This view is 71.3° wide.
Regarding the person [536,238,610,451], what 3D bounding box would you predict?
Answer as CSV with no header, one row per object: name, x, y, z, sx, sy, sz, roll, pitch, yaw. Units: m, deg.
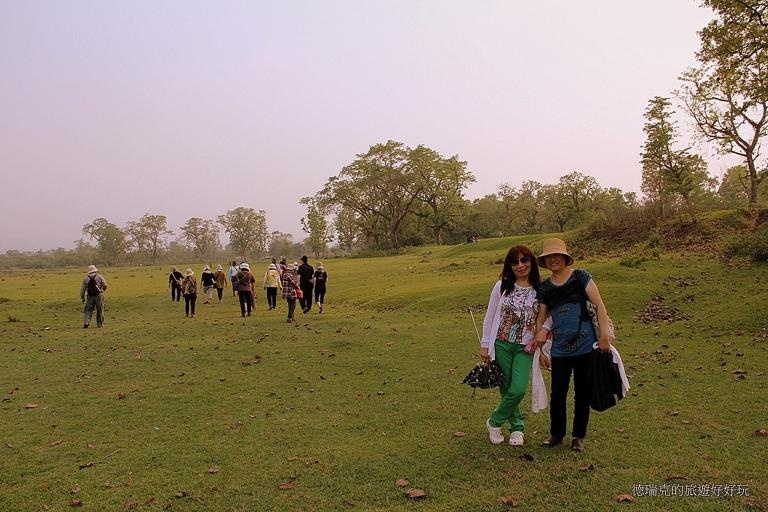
person,3.649,1.722,10.360,1.306,3.966,0.987,3,16,24

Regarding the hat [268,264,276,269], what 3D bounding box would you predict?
hat,-5.902,0.553,28.203,0.283,0.376,0.312,5,-3,-4

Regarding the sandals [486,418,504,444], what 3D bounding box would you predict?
sandals,2.250,3.530,10.839,0.247,0.231,0.508,1,16,-16

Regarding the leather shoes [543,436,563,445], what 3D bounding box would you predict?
leather shoes,3.358,3.642,10.634,0.449,0.177,0.155,-1,3,-4

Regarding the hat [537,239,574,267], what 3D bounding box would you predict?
hat,3.440,-0.156,10.718,0.557,0.353,0.683,-6,-24,18

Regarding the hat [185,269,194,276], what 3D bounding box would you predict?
hat,-10.099,0.846,27.669,0.420,0.270,0.449,-2,-7,40

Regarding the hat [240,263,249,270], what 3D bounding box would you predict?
hat,-6.057,0.540,23.191,0.320,0.409,0.368,5,13,-11

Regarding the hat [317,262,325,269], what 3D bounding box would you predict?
hat,-3.028,0.467,25.318,0.459,0.334,0.450,1,1,8

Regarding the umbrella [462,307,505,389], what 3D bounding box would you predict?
umbrella,2.007,2.058,10.830,0.976,1.229,0.622,14,-30,-27
